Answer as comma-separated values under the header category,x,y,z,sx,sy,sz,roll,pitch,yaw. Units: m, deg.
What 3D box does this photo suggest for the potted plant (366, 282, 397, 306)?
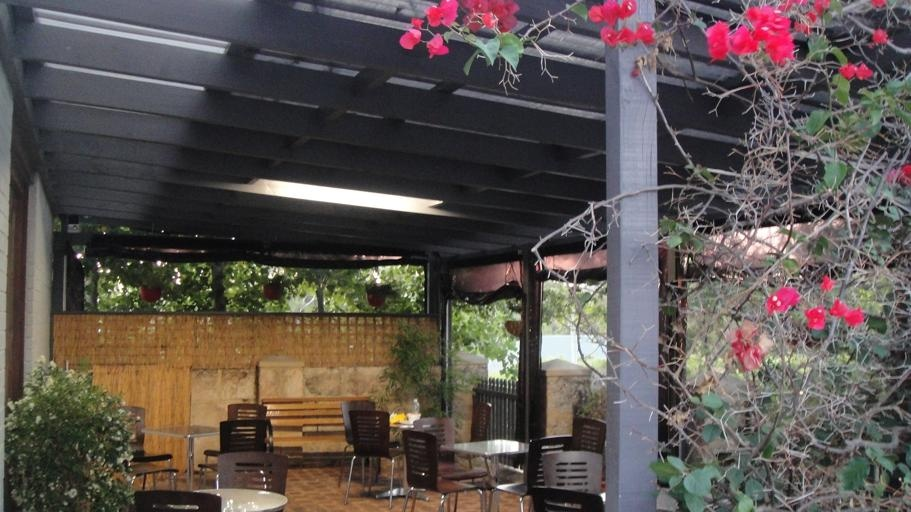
category,x,y,z,sx,sy,sz,roll,pitch,yaw
potted plant,-1.280,0.640,12.539,0.421,0.338,0.339,1,1,-3

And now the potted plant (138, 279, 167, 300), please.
category,x,y,z,sx,sy,sz,roll,pitch,yaw
potted plant,-4.599,0.503,11.306,0.296,0.347,0.296,-6,-8,35
